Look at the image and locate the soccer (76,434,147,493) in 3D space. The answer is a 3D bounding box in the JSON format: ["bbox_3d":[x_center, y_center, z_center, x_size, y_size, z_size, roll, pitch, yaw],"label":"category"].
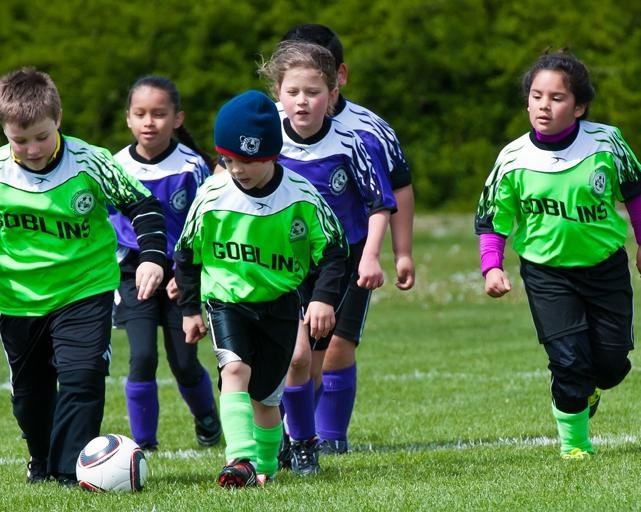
[{"bbox_3d":[-1.239,1.268,6.649,0.383,0.405,0.392,-10,6,-13],"label":"soccer"}]

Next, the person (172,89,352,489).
[{"bbox_3d":[-0.345,0.198,6.566,0.975,2.314,0.474,-4,4,-10],"label":"person"}]

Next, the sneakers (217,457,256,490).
[{"bbox_3d":[-0.478,1.236,6.401,0.216,0.178,0.134,-4,4,-8],"label":"sneakers"}]

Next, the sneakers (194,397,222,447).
[{"bbox_3d":[-0.812,1.225,8.339,0.123,0.264,0.379,-13,26,-1],"label":"sneakers"}]

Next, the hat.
[{"bbox_3d":[-0.387,-0.771,6.588,0.371,0.384,0.400,16,10,2],"label":"hat"}]
